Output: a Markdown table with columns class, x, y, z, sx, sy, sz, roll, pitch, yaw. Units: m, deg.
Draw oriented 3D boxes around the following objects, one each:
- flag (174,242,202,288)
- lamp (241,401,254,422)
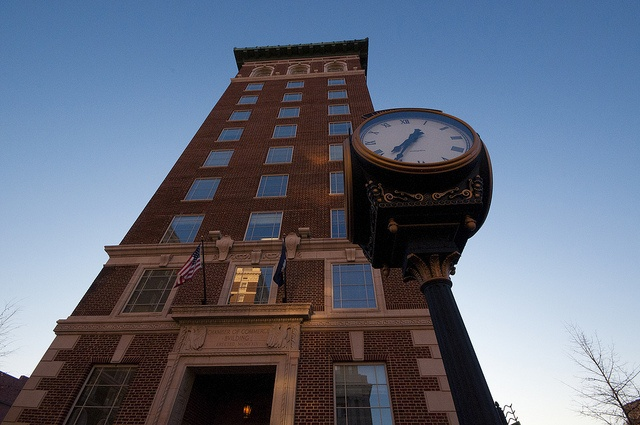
| class | x | y | z | sx | sy | sz | roll | pitch | yaw |
| --- | --- | --- | --- | --- | --- | --- | --- | --- | --- |
| flag | -5.986 | 2.287 | 21.644 | 1.134 | 0.193 | 2.711 | -10 | -42 | -41 |
| lamp | -3.601 | 9.594 | 22.546 | 0.532 | 0.705 | 0.868 | 2 | -47 | 2 |
